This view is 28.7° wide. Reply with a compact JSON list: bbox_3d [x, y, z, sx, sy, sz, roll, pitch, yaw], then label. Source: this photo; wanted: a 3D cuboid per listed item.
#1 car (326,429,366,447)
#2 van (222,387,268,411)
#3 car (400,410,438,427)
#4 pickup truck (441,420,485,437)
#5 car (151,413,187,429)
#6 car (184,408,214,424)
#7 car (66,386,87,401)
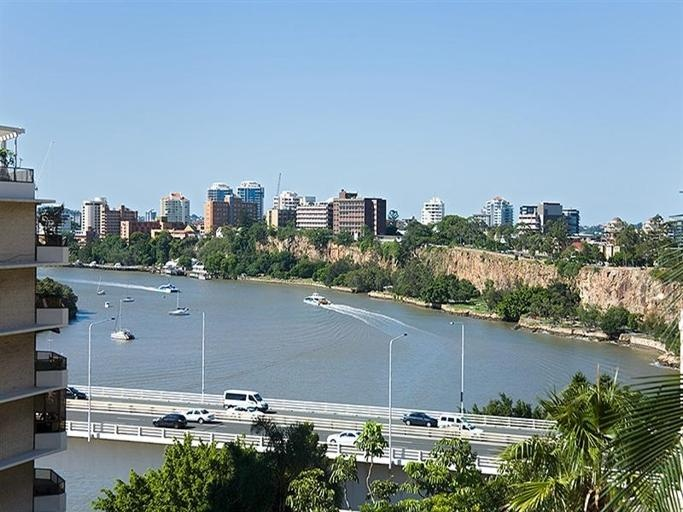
[{"bbox_3d":[0.199,11.294,81.567,2.313,0.889,1.089,3,0,15],"label":"car"},{"bbox_3d":[-6.794,9.906,91.537,2.470,1.362,1.420,-1,5,19],"label":"van"},{"bbox_3d":[5.208,10.794,88.287,1.806,0.762,0.992,-1,10,14],"label":"car"},{"bbox_3d":[7.525,10.917,85.078,2.166,1.085,5.221,4,0,-4],"label":"pickup truck"},{"bbox_3d":[-11.054,10.479,85.099,2.211,0.955,1.649,5,0,4],"label":"car"},{"bbox_3d":[-9.393,10.396,86.787,1.753,0.665,0.878,6,8,18],"label":"car"},{"bbox_3d":[-18.827,9.628,94.034,1.398,0.856,2.528,4,1,-31],"label":"car"}]
